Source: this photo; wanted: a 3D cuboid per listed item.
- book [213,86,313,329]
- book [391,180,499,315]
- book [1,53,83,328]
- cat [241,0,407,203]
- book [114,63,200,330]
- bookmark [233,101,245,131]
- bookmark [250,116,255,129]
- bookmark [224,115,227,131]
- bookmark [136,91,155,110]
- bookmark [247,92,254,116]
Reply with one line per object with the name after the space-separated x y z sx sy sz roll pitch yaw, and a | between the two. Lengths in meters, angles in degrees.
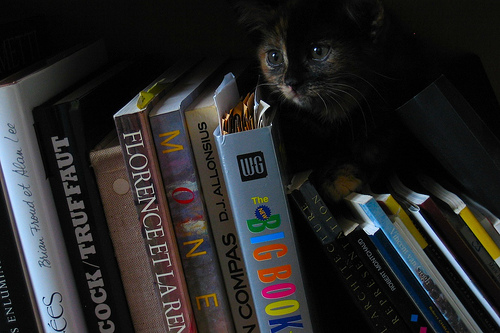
0.023 0.095 0.944 0.115 0.487 0.169 -11 -14 12 | book
0.435 0.182 0.978 0.065 0.243 0.176 -35 23 -3 | book
-0.437 0.035 0.971 0.141 0.595 0.183 -6 -14 -6 | book
0.153 -0.160 1.177 0.316 0.490 0.529 -8 7 34 | cat
-0.179 0.035 0.977 0.111 0.614 0.217 -11 -14 14 | book
-0.027 -0.103 0.941 0.015 0.069 0.008 -5 -26 15 | bookmark
0.005 -0.087 0.917 0.004 0.034 0.026 -4 0 20 | bookmark
-0.049 -0.092 0.925 0.005 0.028 0.017 -7 -14 -3 | bookmark
-0.214 -0.138 0.947 0.033 0.036 0.009 27 -29 22 | bookmark
0.000 -0.131 0.958 0.011 0.044 0.006 13 -44 -3 | bookmark
